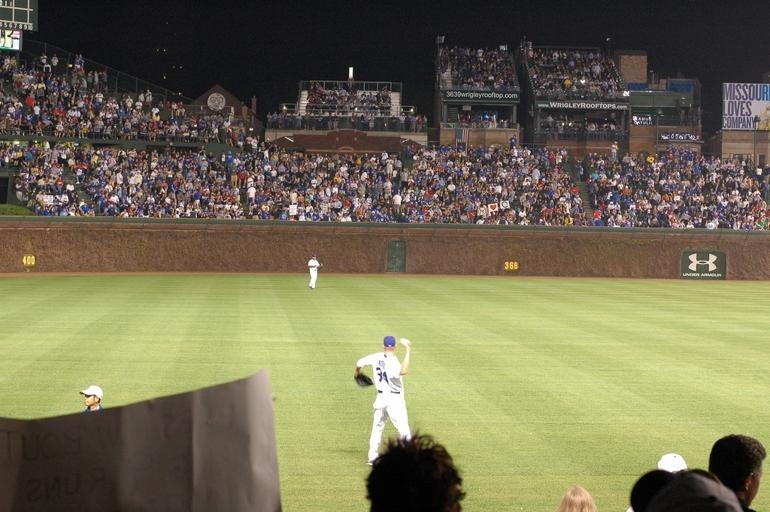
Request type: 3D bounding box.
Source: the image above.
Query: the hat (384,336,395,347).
[{"bbox_3d":[0.192,2.925,35.467,0.409,0.308,0.654,6,-4,0],"label":"hat"}]
